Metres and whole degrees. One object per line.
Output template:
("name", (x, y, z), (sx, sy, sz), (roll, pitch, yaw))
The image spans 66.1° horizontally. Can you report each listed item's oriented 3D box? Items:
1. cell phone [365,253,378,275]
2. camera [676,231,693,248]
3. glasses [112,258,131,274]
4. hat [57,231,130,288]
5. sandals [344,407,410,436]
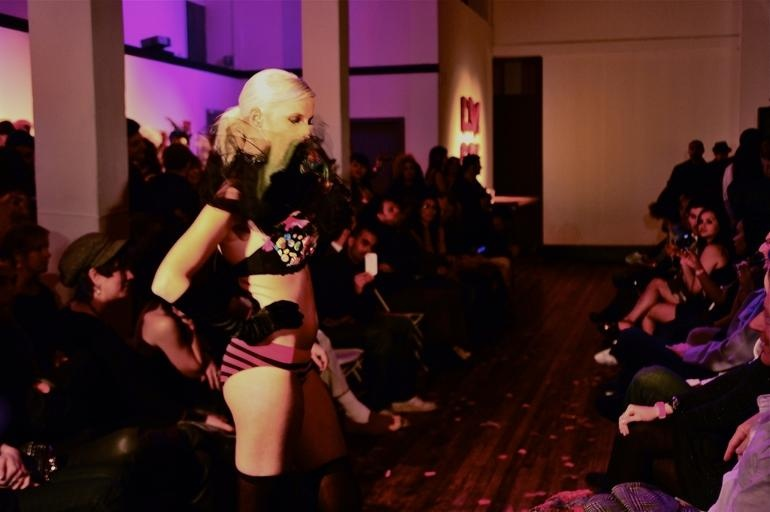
("cell phone", (-0.106, 0.061, 4.817), (0.102, 0.175, 0.164), (0, -2, 2))
("camera", (2.823, -0.148, 5.540), (0.126, 0.113, 0.183), (-6, 33, 43))
("glasses", (-1.312, 0.040, 2.954), (0.055, 0.045, 0.024), (-12, 17, 27))
("hat", (-1.469, -0.038, 2.978), (0.324, 0.170, 0.251), (-27, 32, -14))
("sandals", (-0.053, 1.155, 4.160), (0.444, 0.180, 0.169), (-2, 16, -15))
